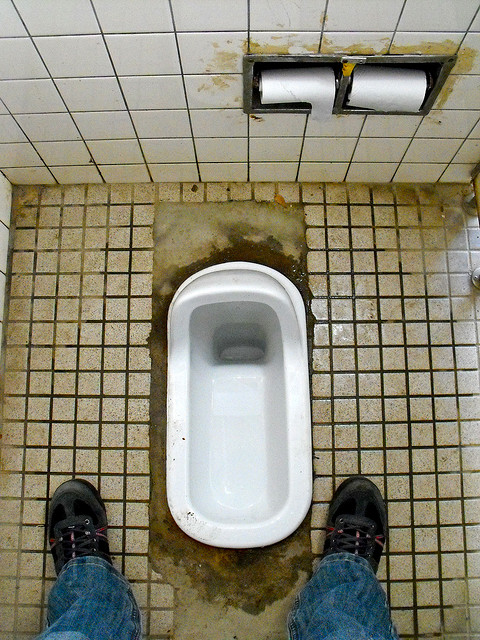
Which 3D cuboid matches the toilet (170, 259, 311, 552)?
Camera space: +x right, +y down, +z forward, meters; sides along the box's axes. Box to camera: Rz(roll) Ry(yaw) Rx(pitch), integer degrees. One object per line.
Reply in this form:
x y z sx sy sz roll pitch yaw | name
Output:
0.009 0.281 1.879 0.382 0.405 0.928 -3 85 3 | toilet

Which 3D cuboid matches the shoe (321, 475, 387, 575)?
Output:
0.344 0.593 1.685 0.108 0.141 0.398 6 89 7 | shoe

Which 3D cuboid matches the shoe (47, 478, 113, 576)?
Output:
-0.473 0.600 1.690 0.107 0.138 0.390 -5 94 -7 | shoe
